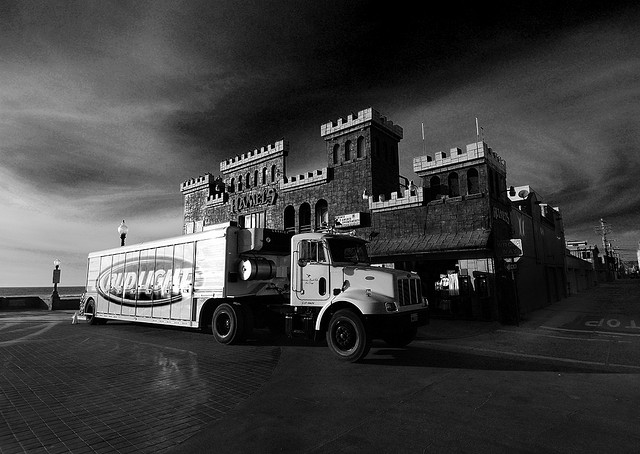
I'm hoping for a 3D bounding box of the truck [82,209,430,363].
[{"bbox_3d":[-4.045,2.277,19.263,17.603,5.412,5.414,-8,-10,37],"label":"truck"}]
